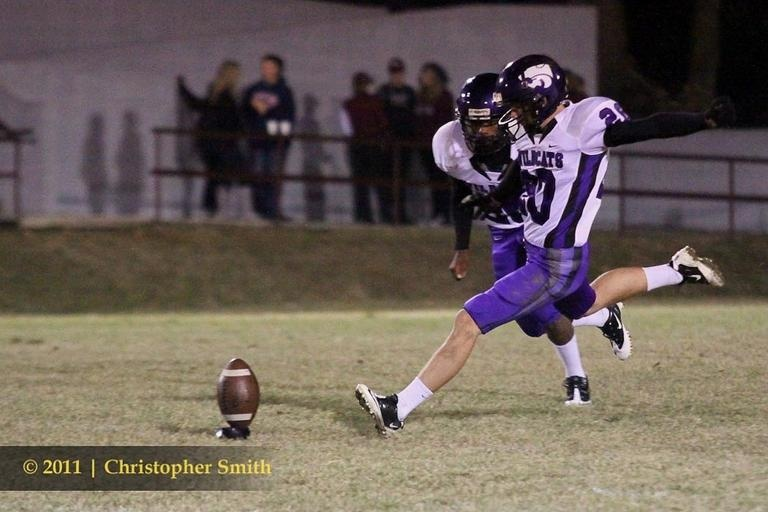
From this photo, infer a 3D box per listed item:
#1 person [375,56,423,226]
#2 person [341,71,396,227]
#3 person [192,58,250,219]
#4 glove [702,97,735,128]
[{"bbox_3d":[0.280,-2.421,29.226,0.421,3.817,0.450,-10,23,-29],"label":"person"},{"bbox_3d":[-0.345,-1.962,29.176,0.581,3.171,0.660,22,30,40],"label":"person"},{"bbox_3d":[-2.997,-2.113,28.749,1.527,2.815,0.879,2,22,2],"label":"person"},{"bbox_3d":[3.994,-1.753,19.180,0.369,0.373,0.217,-1,2,9],"label":"glove"}]
